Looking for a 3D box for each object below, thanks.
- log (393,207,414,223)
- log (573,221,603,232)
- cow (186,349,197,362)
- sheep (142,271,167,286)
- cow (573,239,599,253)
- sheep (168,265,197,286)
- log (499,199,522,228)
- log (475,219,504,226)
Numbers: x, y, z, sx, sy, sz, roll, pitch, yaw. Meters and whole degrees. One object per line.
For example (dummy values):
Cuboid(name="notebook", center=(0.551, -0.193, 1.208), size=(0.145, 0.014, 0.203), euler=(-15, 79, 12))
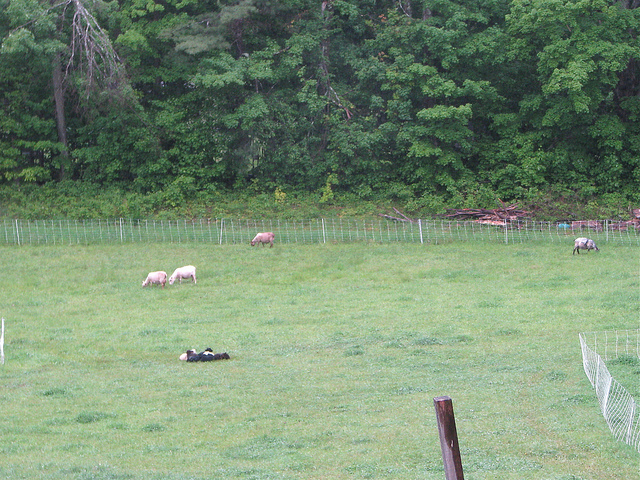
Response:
Cuboid(name="log", center=(5.871, -1.878, 117.708), size=(0.261, 0.345, 3.022), euler=(13, 16, -37))
Cuboid(name="log", center=(18.420, -1.074, 113.237), size=(1.393, 0.413, 0.829), euler=(7, 2, 32))
Cuboid(name="cow", center=(-6.864, 6.203, 90.594), size=(0.492, 0.611, 0.324), euler=(-3, 4, -4))
Cuboid(name="sheep", center=(-9.905, 2.284, 100.810), size=(1.386, 0.843, 0.863), euler=(-3, 4, 1))
Cuboid(name="cow", center=(16.907, 0.256, 106.328), size=(1.274, 0.878, 1.863), euler=(-2, 4, 10))
Cuboid(name="sheep", center=(-8.276, 2.079, 101.865), size=(1.708, 1.063, 1.630), euler=(-3, 4, -4))
Cuboid(name="log", center=(13.204, -1.900, 114.938), size=(1.025, 1.799, 4.410), euler=(-3, 4, 0))
Cuboid(name="log", center=(11.693, -1.240, 113.781), size=(1.932, 0.453, 1.183), euler=(-2, 4, 16))
